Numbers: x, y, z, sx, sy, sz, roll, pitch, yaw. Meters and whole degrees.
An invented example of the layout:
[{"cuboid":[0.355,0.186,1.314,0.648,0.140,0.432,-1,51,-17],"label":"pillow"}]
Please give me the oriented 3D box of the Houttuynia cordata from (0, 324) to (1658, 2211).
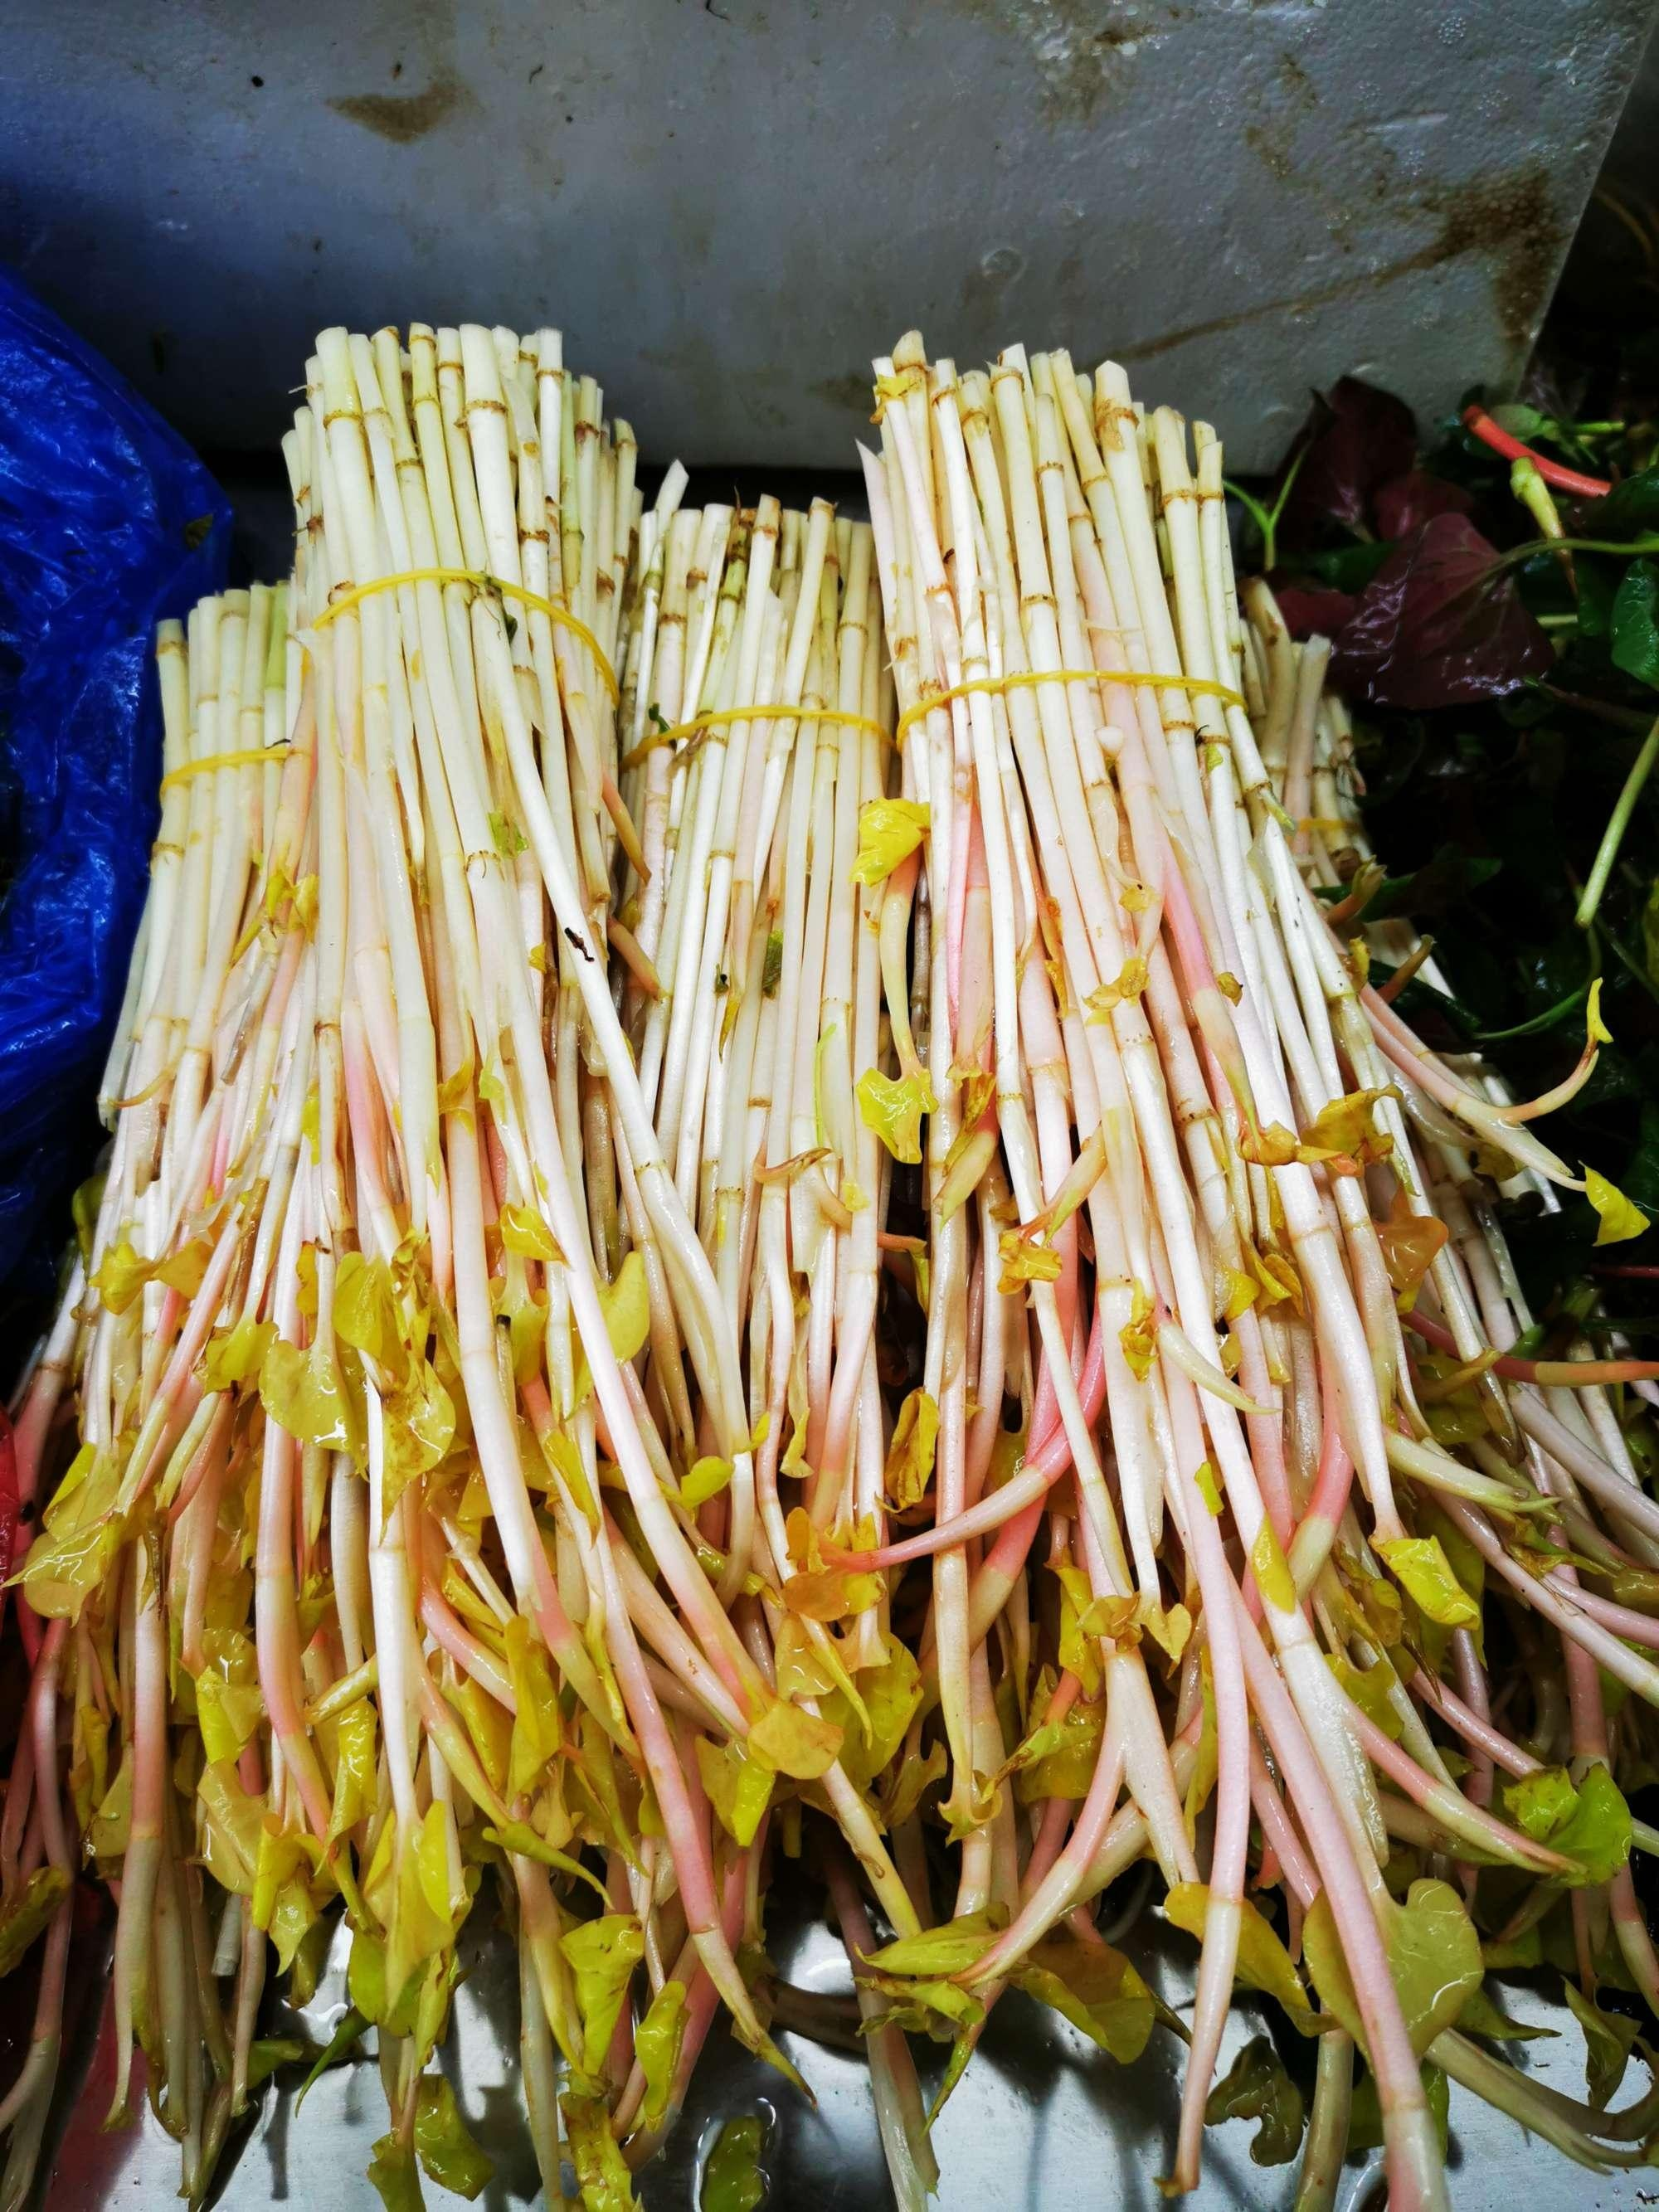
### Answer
[{"cuboid":[-0.020,-0.005,0.972,0.817,0.291,0.970,1,63,-2],"label":"Houttuynia cordata"}]
